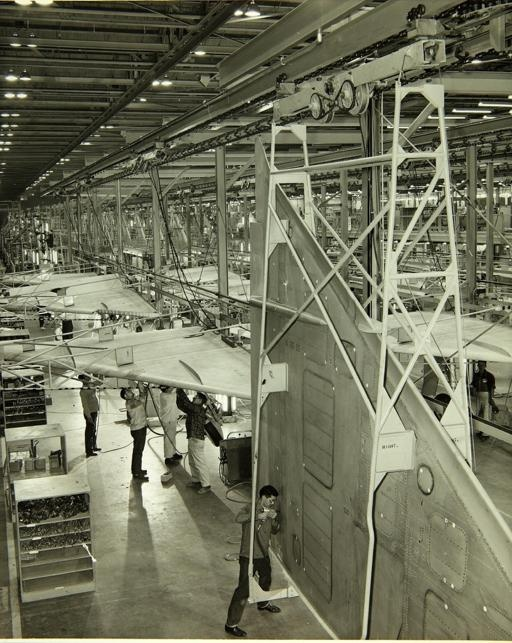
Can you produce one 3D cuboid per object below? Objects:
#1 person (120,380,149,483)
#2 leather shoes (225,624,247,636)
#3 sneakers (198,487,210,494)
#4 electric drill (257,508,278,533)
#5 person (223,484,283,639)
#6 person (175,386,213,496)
[{"bbox_3d":[-2.301,2.072,11.717,0.428,1.837,0.897,-3,6,-11],"label":"person"},{"bbox_3d":[-0.218,3.326,6.669,0.251,0.122,0.099,2,3,30],"label":"leather shoes"},{"bbox_3d":[-0.909,2.984,10.857,0.086,0.107,0.241,1,0,35],"label":"sneakers"},{"bbox_3d":[0.124,2.158,6.650,0.249,0.282,0.131,3,18,-3],"label":"electric drill"},{"bbox_3d":[-0.005,2.621,6.784,0.530,1.650,0.861,1,7,25],"label":"person"},{"bbox_3d":[-1.110,2.146,11.172,0.520,1.728,0.986,-3,6,-8],"label":"person"}]
